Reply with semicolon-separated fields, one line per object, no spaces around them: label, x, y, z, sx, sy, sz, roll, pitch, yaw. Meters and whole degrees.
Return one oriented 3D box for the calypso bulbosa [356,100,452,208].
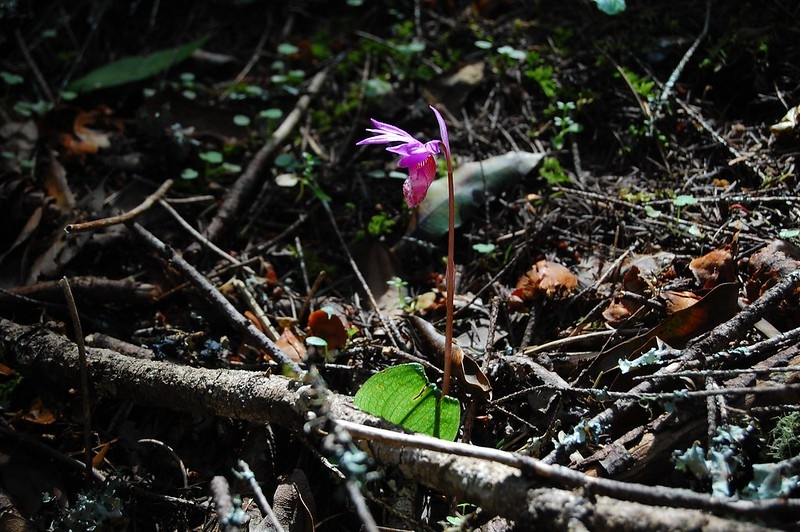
calypso bulbosa;0.057;-0.556;3.731;0.596;0.509;0.426;15;9;30
